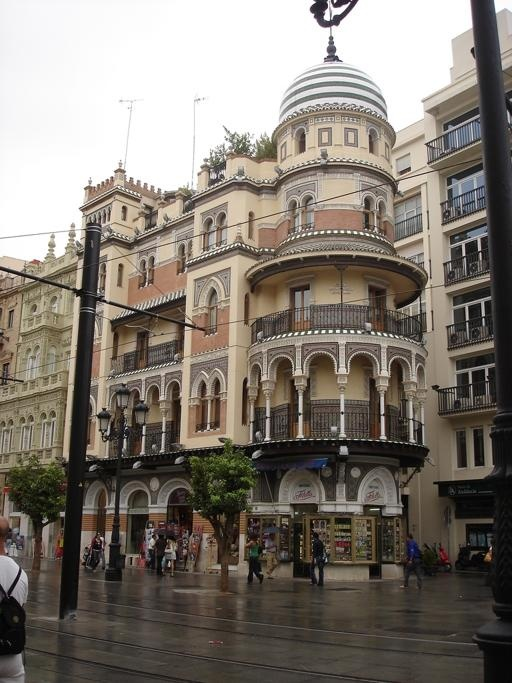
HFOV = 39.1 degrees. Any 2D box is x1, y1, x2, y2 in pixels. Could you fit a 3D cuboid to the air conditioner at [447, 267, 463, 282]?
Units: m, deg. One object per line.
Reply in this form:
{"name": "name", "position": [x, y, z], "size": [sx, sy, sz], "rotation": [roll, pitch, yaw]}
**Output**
{"name": "air conditioner", "position": [9.910, -3.328, 35.929], "size": [0.713, 0.667, 0.190], "rotation": [15, 4, 36]}

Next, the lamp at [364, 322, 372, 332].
{"name": "lamp", "position": [4.317, -0.558, 27.871], "size": [0.313, 0.304, 0.563], "rotation": [-1, 21, 9]}

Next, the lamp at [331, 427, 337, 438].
{"name": "lamp", "position": [2.874, 3.319, 26.546], "size": [0.276, 0.506, 0.596], "rotation": [-1, -17, 5]}

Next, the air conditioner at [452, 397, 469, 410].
{"name": "air conditioner", "position": [9.561, 2.900, 33.922], "size": [0.568, 0.548, 1.011], "rotation": [4, -5, 15]}

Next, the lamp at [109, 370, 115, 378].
{"name": "lamp", "position": [-7.625, 1.690, 38.054], "size": [0.286, 0.376, 0.120], "rotation": [-6, -13, 33]}

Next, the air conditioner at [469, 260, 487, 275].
{"name": "air conditioner", "position": [10.754, -3.570, 34.819], "size": [0.388, 0.654, 0.686], "rotation": [13, -18, -16]}

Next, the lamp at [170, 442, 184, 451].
{"name": "lamp", "position": [-3.548, 4.693, 32.349], "size": [0.284, 0.439, 1.310], "rotation": [7, -18, -21]}

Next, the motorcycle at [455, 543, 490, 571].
{"name": "motorcycle", "position": [9.582, 9.441, 31.573], "size": [0.857, 1.070, 1.702], "rotation": [19, -20, -31]}

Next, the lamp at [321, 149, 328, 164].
{"name": "lamp", "position": [2.913, -7.981, 30.967], "size": [0.315, 0.857, 0.404], "rotation": [-1, -17, 6]}

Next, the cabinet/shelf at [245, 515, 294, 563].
{"name": "cabinet/shelf", "position": [0.585, 7.387, 26.945], "size": [0.697, 1.880, 2.077], "rotation": [16, -22, -41]}

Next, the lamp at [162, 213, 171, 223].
{"name": "lamp", "position": [-4.891, -6.696, 39.035], "size": [0.475, 0.525, 0.621], "rotation": [-1, -30, -7]}

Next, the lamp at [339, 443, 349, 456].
{"name": "lamp", "position": [3.145, 3.875, 25.909], "size": [0.428, 0.392, 0.199], "rotation": [2, -24, -4]}

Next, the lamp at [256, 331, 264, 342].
{"name": "lamp", "position": [0.176, -0.206, 29.857], "size": [0.199, 0.333, 0.362], "rotation": [7, -20, -14]}

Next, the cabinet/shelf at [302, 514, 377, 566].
{"name": "cabinet/shelf", "position": [3.213, 7.262, 26.405], "size": [2.696, 1.740, 0.660], "rotation": [3, -17, -9]}
